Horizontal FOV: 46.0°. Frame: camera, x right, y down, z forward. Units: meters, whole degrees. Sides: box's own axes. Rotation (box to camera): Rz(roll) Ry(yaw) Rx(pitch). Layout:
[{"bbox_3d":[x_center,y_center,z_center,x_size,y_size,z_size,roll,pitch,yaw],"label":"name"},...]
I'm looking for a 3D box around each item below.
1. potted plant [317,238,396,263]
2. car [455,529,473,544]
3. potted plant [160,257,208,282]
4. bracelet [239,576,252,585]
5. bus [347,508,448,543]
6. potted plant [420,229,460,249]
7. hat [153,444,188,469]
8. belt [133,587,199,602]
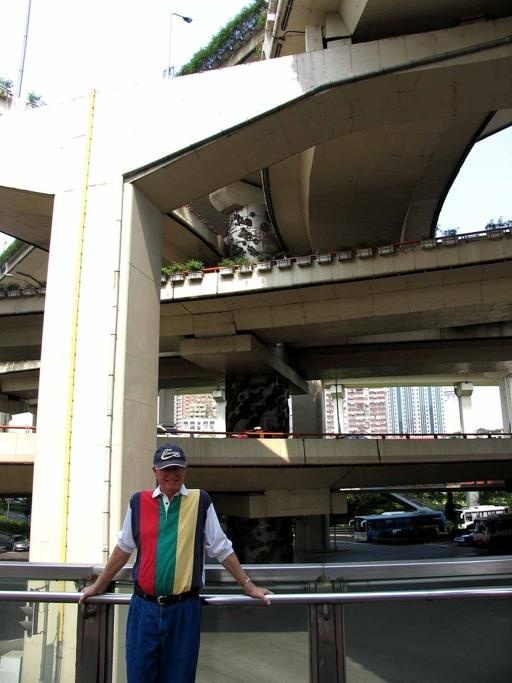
[{"bbox_3d":[3.030,-2.702,18.317,2.491,0.558,0.455,-9,-16,22],"label":"potted plant"},{"bbox_3d":[13.674,12.801,39.255,0.893,0.620,1.515,-20,-41,25],"label":"car"},{"bbox_3d":[-2.464,-2.403,20.052,1.434,0.718,0.498,-4,-15,6],"label":"potted plant"},{"bbox_3d":[-0.049,1.139,2.869,0.038,0.026,0.036,1,-19,-23],"label":"bracelet"},{"bbox_3d":[10.754,13.940,45.501,7.589,2.293,2.426,-1,-10,-6],"label":"bus"},{"bbox_3d":[5.292,-2.896,17.372,1.073,0.355,0.244,-10,-17,26],"label":"potted plant"},{"bbox_3d":[-0.439,0.580,3.049,0.121,0.092,0.172,1,-21,-11],"label":"hat"},{"bbox_3d":[-0.407,1.162,2.767,0.290,0.066,0.118,0,-15,-11],"label":"belt"}]
